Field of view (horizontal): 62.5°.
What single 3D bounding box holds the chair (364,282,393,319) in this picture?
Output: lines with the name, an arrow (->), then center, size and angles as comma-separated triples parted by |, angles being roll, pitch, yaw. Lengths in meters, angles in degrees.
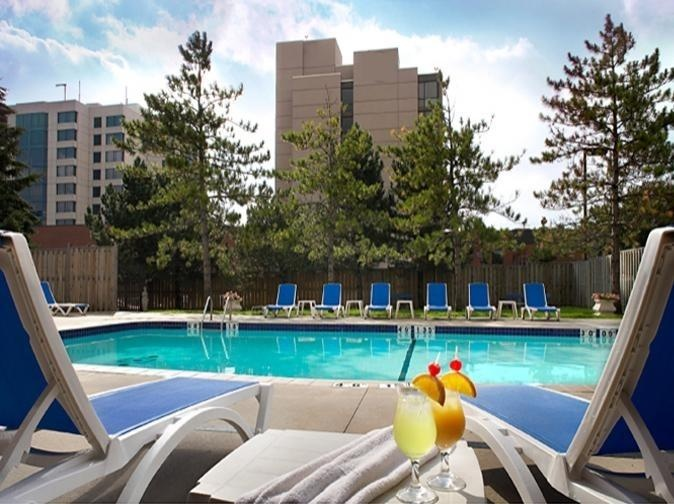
chair -> 0.939, 1.061, 12.363 | 0.544, 1.002, 0.800 | 3, -10, 0

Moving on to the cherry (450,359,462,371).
cherry -> 0.596, 0.553, 2.767 | 0.051, 0.064, 0.052 | -9, 13, -35

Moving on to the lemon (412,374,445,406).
lemon -> 0.445, 0.636, 2.675 | 0.167, 0.127, 0.128 | 1, 0, 4

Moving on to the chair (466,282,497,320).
chair -> 3.066, 1.093, 11.976 | 0.506, 0.845, 0.800 | -3, 5, 11

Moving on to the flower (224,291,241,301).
flower -> -2.729, 1.121, 14.648 | 0.202, 0.178, 0.273 | 6, -12, 15

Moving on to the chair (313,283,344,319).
chair -> -0.171, 1.079, 12.706 | 0.751, 0.936, 0.863 | -2, -10, 27

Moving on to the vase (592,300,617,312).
vase -> 6.533, 1.287, 13.615 | 0.269, 0.320, 0.356 | -2, -1, 13

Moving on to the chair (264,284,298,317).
chair -> -1.243, 1.129, 12.882 | 0.546, 0.913, 0.844 | 0, -3, 21

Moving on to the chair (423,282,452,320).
chair -> 2.195, 0.984, 12.205 | 0.549, 0.971, 1.084 | 0, -17, 9

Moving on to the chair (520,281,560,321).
chair -> 4.372, 1.043, 12.022 | 0.488, 0.925, 0.832 | 1, -5, 3

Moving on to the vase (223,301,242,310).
vase -> -2.718, 1.368, 14.609 | 0.228, 0.330, 0.393 | -2, -5, 15
